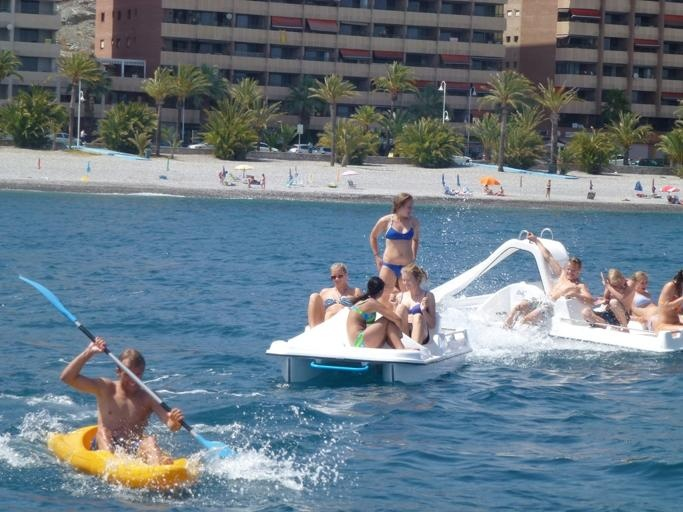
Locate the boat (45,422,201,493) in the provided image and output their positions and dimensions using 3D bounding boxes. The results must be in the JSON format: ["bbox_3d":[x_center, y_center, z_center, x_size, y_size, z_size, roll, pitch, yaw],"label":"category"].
[{"bbox_3d":[-5.137,4.658,31.000,3.450,1.212,0.571,2,3,12],"label":"boat"}]

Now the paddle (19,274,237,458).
[{"bbox_3d":[-5.431,2.941,33.949,0.348,5.265,0.700,-46,-1,-36],"label":"paddle"}]

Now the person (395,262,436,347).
[{"bbox_3d":[1.927,1.336,34.441,0.811,2.275,0.893,1,9,15],"label":"person"}]

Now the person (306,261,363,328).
[{"bbox_3d":[-0.246,1.103,34.883,1.151,1.762,1.203,-3,16,-33],"label":"person"}]

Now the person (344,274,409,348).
[{"bbox_3d":[0.845,1.448,33.749,1.412,1.744,0.480,1,3,0],"label":"person"}]

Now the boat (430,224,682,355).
[{"bbox_3d":[5.844,1.616,36.593,5.841,3.453,5.463,2,11,16],"label":"boat"}]

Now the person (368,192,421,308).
[{"bbox_3d":[1.446,-0.181,35.657,0.894,2.932,1.147,0,1,-2],"label":"person"}]

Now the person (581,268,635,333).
[{"bbox_3d":[7.297,1.311,36.498,1.082,1.714,1.154,-2,12,-19],"label":"person"}]

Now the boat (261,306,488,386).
[{"bbox_3d":[0.663,2.365,33.894,4.882,1.850,1.206,1,3,-10],"label":"boat"}]
